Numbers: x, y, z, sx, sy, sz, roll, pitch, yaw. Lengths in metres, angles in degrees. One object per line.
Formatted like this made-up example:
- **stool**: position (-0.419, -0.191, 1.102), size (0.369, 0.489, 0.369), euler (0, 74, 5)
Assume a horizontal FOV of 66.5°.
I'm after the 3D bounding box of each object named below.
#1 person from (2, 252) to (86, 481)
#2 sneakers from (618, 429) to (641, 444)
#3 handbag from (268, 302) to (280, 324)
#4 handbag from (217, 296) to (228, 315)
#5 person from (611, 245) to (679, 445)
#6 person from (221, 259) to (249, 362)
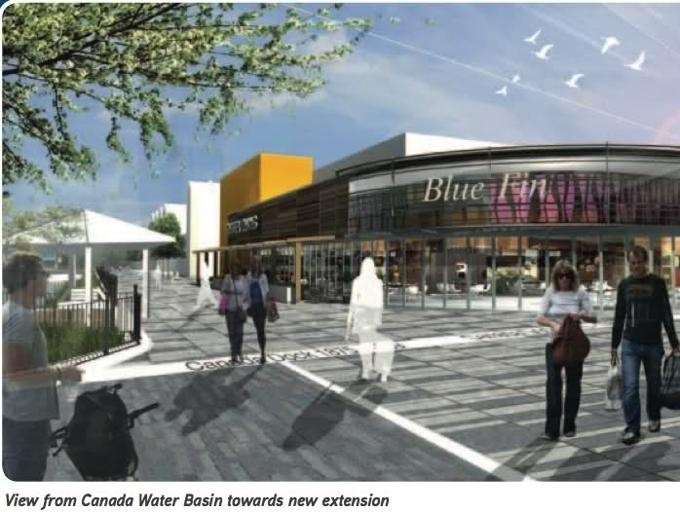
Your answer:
- **person**: position (-2.814, 1.073, 4.730), size (0.498, 2.198, 0.555), euler (-8, 13, -29)
- **sneakers**: position (3.485, 2.178, 6.258), size (0.211, 0.097, 0.164), euler (1, -20, 9)
- **handbag**: position (-1.293, 1.086, 10.043), size (0.299, 0.546, 0.124), euler (-3, -3, 3)
- **handbag**: position (-2.185, 0.920, 9.769), size (0.163, 0.421, 0.105), euler (-4, 11, -13)
- **person**: position (3.633, 1.078, 6.350), size (0.868, 2.333, 0.654), euler (-10, 13, -36)
- **person**: position (-2.029, 1.048, 9.972), size (0.561, 1.831, 0.423), euler (-5, 11, -15)
